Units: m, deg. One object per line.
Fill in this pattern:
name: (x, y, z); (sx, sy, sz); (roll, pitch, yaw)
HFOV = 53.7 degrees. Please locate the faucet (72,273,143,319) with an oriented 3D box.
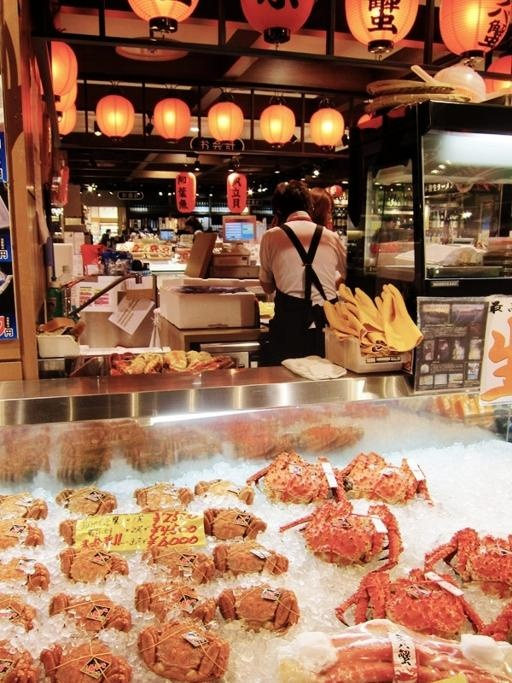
faucet: (-1.129, -0.370, 3.801); (0.585, 0.253, 0.114); (-7, 24, -4)

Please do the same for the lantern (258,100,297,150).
lantern: (0.306, -2.830, 6.641); (0.569, 0.620, 0.556); (-1, 7, 3)

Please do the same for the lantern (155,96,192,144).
lantern: (-1.057, -2.832, 6.480); (0.477, 0.512, 0.463); (-3, 13, -9)

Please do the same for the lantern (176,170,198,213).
lantern: (-1.786, -3.880, 13.039); (0.504, 1.070, 1.217); (-1, 12, -9)

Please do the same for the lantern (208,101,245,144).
lantern: (-0.405, -2.725, 6.379); (0.457, 0.477, 0.448); (1, 11, 12)

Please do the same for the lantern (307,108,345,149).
lantern: (0.964, -2.874, 6.793); (0.404, 0.522, 0.460); (3, 12, 9)

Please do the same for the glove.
glove: (0.424, -0.079, 1.849); (0.220, 0.080, 0.290); (-6, 38, 3)

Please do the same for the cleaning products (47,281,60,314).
cleaning products: (-1.334, -0.270, 3.344); (0.078, 0.213, 0.298); (-3, 12, -17)
